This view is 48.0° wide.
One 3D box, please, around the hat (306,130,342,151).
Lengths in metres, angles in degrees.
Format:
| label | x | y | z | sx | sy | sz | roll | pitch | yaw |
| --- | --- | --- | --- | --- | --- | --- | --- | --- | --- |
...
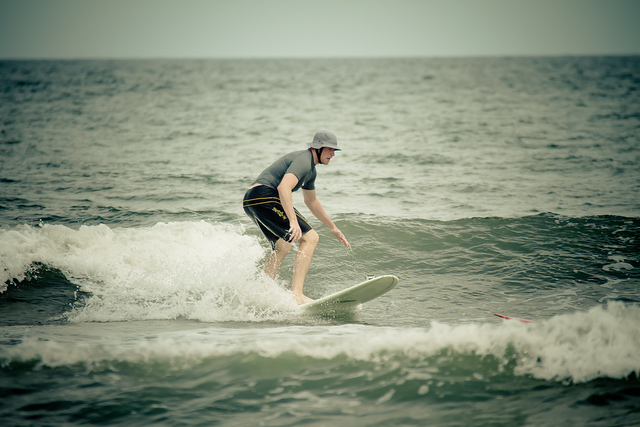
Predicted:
| label | x | y | z | sx | sy | sz | roll | pitch | yaw |
| --- | --- | --- | --- | --- | --- | --- | --- | --- | --- |
| hat | 0.101 | -1.496 | 14.601 | 0.535 | 0.191 | 0.549 | -3 | -2 | 44 |
